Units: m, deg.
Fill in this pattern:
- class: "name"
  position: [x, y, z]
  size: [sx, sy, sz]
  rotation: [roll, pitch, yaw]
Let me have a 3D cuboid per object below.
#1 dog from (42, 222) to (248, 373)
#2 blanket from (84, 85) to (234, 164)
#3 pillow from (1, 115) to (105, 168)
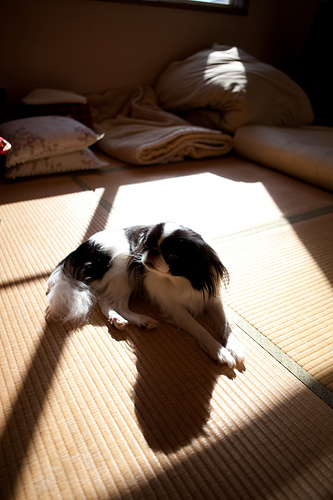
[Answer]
- class: "dog"
  position: [-0.088, 0.121, 1.207]
  size: [0.400, 0.269, 0.588]
  rotation: [-10, 29, -34]
- class: "blanket"
  position: [-0.214, -1.036, 3.145]
  size: [0.797, 0.409, 1.117]
  rotation: [-15, 35, -24]
- class: "pillow"
  position: [-0.821, -0.768, 2.557]
  size: [0.667, 0.199, 0.371]
  rotation: [-31, 57, -24]
